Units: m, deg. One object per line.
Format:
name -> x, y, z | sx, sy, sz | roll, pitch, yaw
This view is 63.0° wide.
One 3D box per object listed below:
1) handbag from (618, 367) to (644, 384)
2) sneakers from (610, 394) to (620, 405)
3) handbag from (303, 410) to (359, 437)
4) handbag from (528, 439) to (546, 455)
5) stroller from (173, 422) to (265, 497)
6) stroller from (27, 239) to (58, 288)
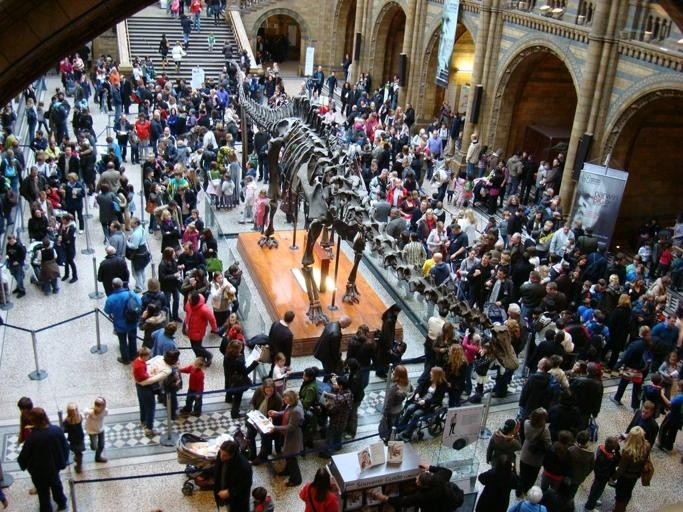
handbag -> 5.839, 2.406, 11.178 | 0.349, 0.281, 0.133 | 12, 0, 32
sneakers -> 5.785, 3.062, 11.784 | 0.087, 0.101, 0.230 | -15, 16, -9
handbag -> -0.215, 2.879, 9.579 | 0.667, 0.226, 0.700 | 3, -2, -7
handbag -> 3.146, 3.049, 8.914 | 0.184, 0.280, 0.280 | 15, 9, 18
stroller -> -2.144, 3.148, 9.234 | 1.037, 1.118, 0.876 | 6, 28, -19
stroller -> -7.019, 0.182, 13.144 | 0.524, 1.209, 0.729 | -15, 53, -36
